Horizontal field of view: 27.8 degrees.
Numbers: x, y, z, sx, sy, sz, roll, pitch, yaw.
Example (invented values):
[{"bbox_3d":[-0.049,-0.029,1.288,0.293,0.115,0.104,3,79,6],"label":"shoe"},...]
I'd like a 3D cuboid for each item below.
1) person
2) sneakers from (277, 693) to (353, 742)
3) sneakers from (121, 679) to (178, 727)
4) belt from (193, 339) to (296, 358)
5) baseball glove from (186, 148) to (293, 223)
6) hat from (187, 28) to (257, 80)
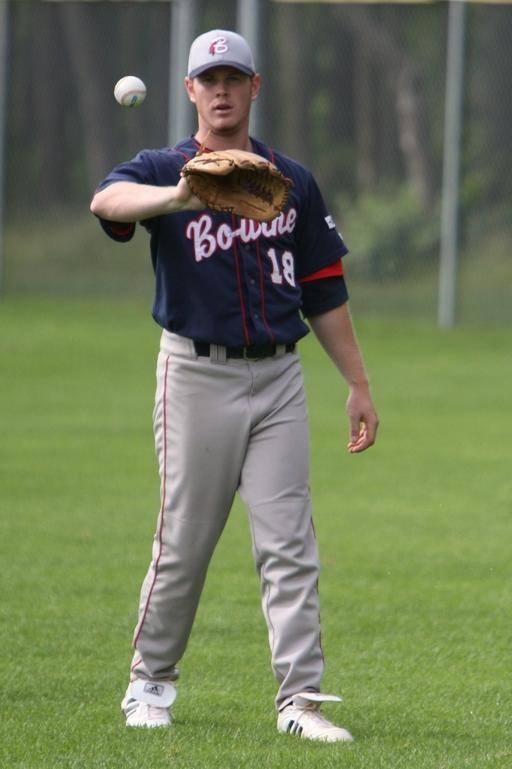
[{"bbox_3d":[-0.028,-0.008,2.441,0.744,1.659,0.588,1,7,-11],"label":"person"},{"bbox_3d":[0.127,0.741,2.294,0.096,0.103,0.185,-2,8,-33],"label":"sneakers"},{"bbox_3d":[-0.252,0.743,2.404,0.060,0.076,0.171,18,-2,-21],"label":"sneakers"},{"bbox_3d":[-0.016,-0.082,2.446,0.278,0.041,0.070,-2,8,-35],"label":"belt"},{"bbox_3d":[-0.042,-0.412,2.137,0.107,0.130,0.254,6,8,30],"label":"baseball glove"},{"bbox_3d":[-0.094,-0.786,2.449,0.167,0.114,0.228,-3,13,-4],"label":"hat"}]
